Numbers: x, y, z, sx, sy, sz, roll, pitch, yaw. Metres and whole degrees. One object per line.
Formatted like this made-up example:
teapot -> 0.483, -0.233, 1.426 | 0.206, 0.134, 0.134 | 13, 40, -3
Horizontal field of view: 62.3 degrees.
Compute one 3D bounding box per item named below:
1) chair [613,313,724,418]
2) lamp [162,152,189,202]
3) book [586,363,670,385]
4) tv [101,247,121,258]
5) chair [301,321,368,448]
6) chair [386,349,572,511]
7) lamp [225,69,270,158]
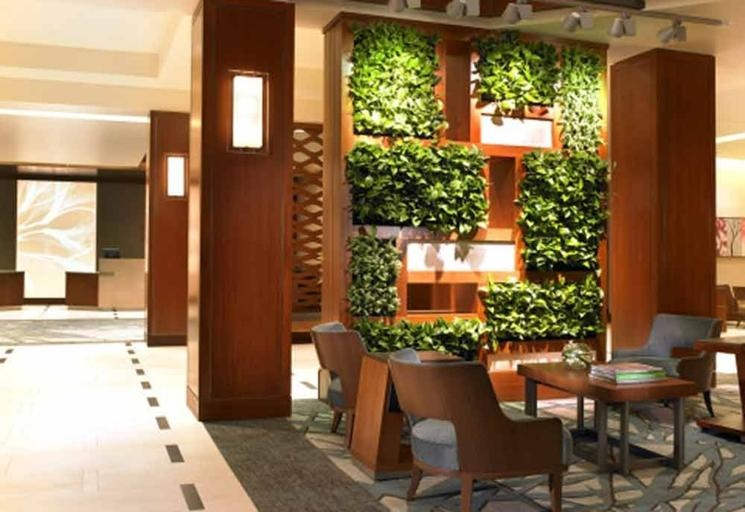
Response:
chair -> 3.310, 1.237, 7.310 | 1.201, 1.455, 1.064 | 7, -8, -33
lamp -> -3.346, -1.367, 10.502 | 0.372, 0.730, 0.151 | -2, 0, -18
book -> 2.250, 1.045, 5.451 | 0.624, 0.164, 0.295 | -2, 0, 20
tv -> -6.987, -0.082, 16.485 | 0.411, 0.295, 1.668 | -2, 0, -24
chair -> -0.387, 1.174, 6.288 | 0.997, 1.104, 0.949 | 1, 0, -12
chair -> 0.802, 1.070, 4.884 | 1.248, 1.235, 1.314 | 0, -3, -26
lamp -> -1.291, -1.505, 6.589 | 0.429, 0.799, 0.804 | 1, 2, -9
